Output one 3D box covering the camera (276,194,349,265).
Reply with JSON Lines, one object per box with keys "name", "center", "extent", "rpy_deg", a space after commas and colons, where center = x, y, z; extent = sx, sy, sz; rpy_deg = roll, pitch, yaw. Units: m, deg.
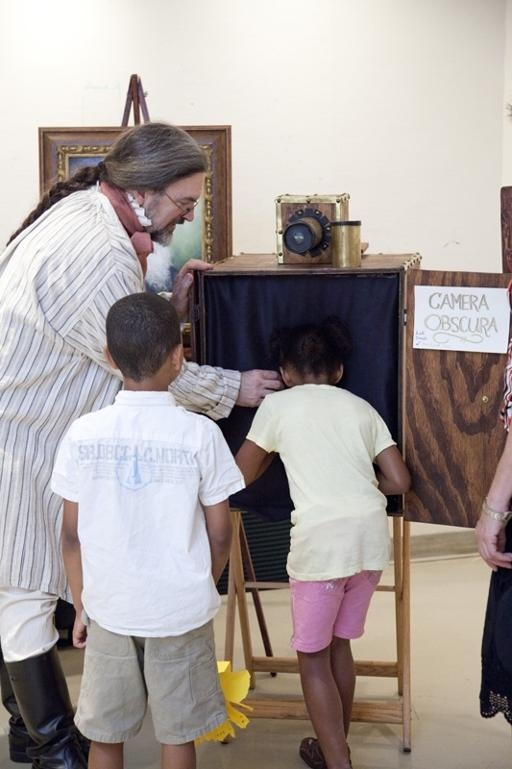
{"name": "camera", "center": [0.186, -0.463, 2.200], "extent": [0.237, 0.199, 0.228], "rpy_deg": [2, 21, 12]}
